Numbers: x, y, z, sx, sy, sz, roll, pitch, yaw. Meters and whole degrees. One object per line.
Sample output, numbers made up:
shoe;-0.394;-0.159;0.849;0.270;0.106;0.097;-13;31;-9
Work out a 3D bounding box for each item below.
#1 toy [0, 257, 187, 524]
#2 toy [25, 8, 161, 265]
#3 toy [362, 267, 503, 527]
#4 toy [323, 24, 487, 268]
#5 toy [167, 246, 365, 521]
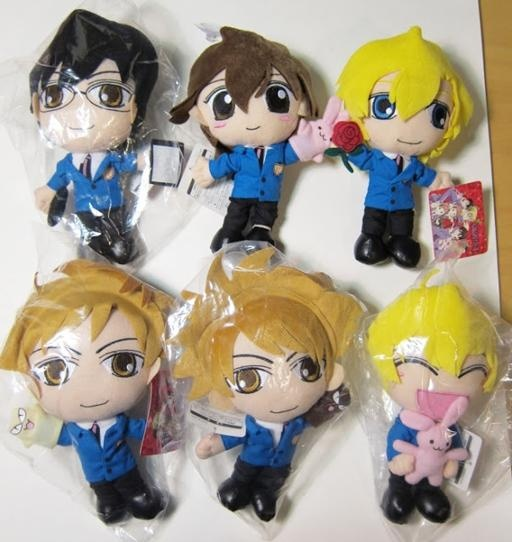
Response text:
toy;-0.366;0.288;1.253;0.360;0.572;0.278;-2;24;3
toy;-0.390;-0.313;1.330;0.312;0.584;0.192;-3;24;0
toy;0.415;0.291;1.216;0.314;0.568;0.273;-7;24;-8
toy;0.344;-0.285;1.325;0.335;0.557;0.243;-1;24;5
toy;0.022;0.257;1.213;0.412;0.559;0.288;2;24;11
